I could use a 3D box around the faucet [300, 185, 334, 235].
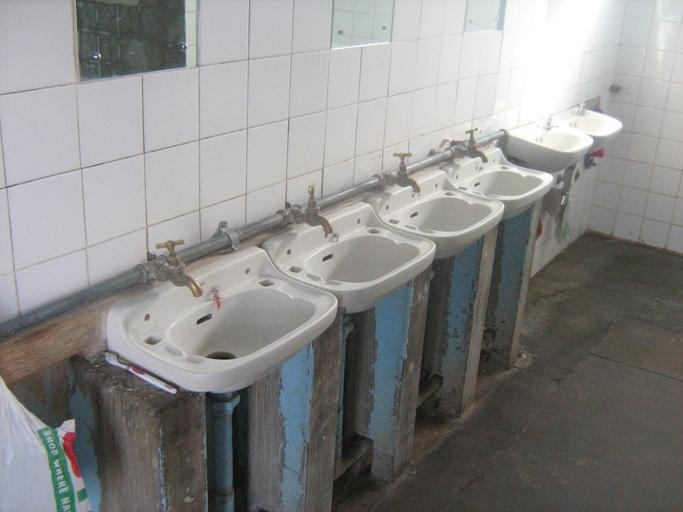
[{"bbox_3d":[-0.106,-0.183,2.335,0.139,0.222,0.068,27,50,25],"label":"faucet"}]

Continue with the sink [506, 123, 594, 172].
[{"bbox_3d":[1.358,-0.731,3.760,0.330,0.158,0.475,26,42,28],"label":"sink"}]

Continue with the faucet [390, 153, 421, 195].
[{"bbox_3d":[0.317,-0.400,2.726,0.132,0.215,0.133,9,29,12],"label":"faucet"}]

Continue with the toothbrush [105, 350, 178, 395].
[{"bbox_3d":[-0.572,0.341,1.639,0.192,0.013,0.044,28,59,24],"label":"toothbrush"}]

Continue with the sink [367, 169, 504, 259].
[{"bbox_3d":[0.496,-0.190,2.756,0.439,0.346,0.656,27,45,31],"label":"sink"}]

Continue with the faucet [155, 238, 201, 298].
[{"bbox_3d":[-0.536,0.045,1.837,0.079,0.120,0.159,-31,63,-36],"label":"faucet"}]

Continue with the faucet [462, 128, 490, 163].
[{"bbox_3d":[0.789,-0.658,3.302,0.148,0.232,0.291,8,29,11],"label":"faucet"}]

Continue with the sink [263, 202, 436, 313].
[{"bbox_3d":[0.084,0.013,2.323,0.448,0.287,0.673,25,41,32],"label":"sink"}]
